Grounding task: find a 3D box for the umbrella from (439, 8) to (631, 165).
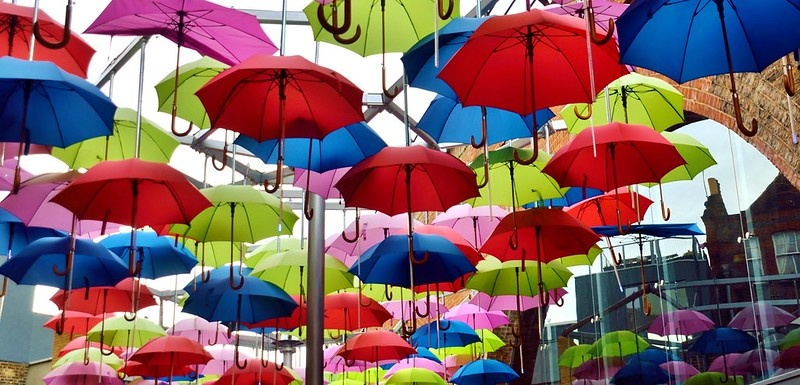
[{"bbox_3d":[1.810,-1.510,10.926,2.420,1.703,2.354,4,-24,-13],"label":"umbrella"}]
